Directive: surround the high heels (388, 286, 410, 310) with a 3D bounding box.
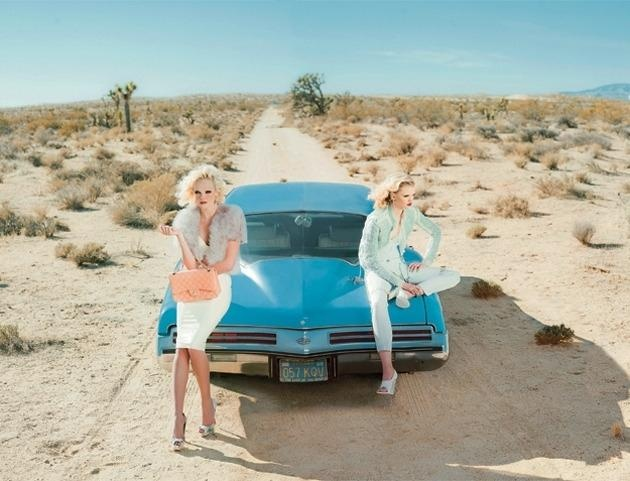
[{"bbox_3d":[0.984,0.643,6.942,0.149,0.107,0.261,-29,45,7],"label":"high heels"}]

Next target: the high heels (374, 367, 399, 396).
[{"bbox_3d":[0.861,1.634,7.011,0.170,0.139,0.488,-2,2,9],"label":"high heels"}]

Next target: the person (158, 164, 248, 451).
[{"bbox_3d":[-1.237,0.686,6.667,0.635,2.872,1.285,9,22,30],"label":"person"}]

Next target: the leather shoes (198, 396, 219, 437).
[{"bbox_3d":[-1.180,1.956,6.804,0.155,0.448,0.118,-1,4,9],"label":"leather shoes"}]
